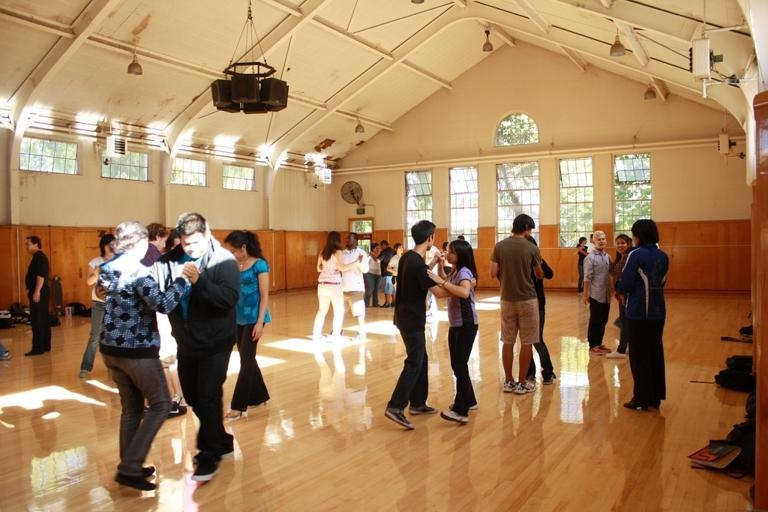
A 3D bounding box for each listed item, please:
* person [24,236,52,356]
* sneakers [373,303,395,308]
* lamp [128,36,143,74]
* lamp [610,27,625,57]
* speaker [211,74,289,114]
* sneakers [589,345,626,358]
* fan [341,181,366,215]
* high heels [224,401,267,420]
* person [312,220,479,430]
[{"bbox_3d":[-5.879,0.797,8.922,0.405,1.757,0.550,-6,9,-35],"label":"person"},{"bbox_3d":[0.028,1.291,13.690,0.509,0.220,0.179,0,-6,6],"label":"sneakers"},{"bbox_3d":[-5.488,-4.358,11.570,0.285,0.836,1.051,-4,9,-25],"label":"lamp"},{"bbox_3d":[4.836,-4.348,10.866,0.241,0.547,0.879,2,9,24],"label":"lamp"},{"bbox_3d":[-2.569,-3.125,10.311,0.908,0.361,0.956,0,1,4],"label":"speaker"},{"bbox_3d":[3.539,1.513,8.307,0.446,0.193,0.167,3,4,33],"label":"sneakers"},{"bbox_3d":[-1.140,-2.210,20.172,1.037,1.247,0.160,4,9,35],"label":"fan"},{"bbox_3d":[-1.646,1.844,6.341,0.151,0.125,0.440,-7,-8,29],"label":"high heels"},{"bbox_3d":[0.459,0.745,5.973,0.902,2.294,0.609,-1,7,-2],"label":"person"}]
